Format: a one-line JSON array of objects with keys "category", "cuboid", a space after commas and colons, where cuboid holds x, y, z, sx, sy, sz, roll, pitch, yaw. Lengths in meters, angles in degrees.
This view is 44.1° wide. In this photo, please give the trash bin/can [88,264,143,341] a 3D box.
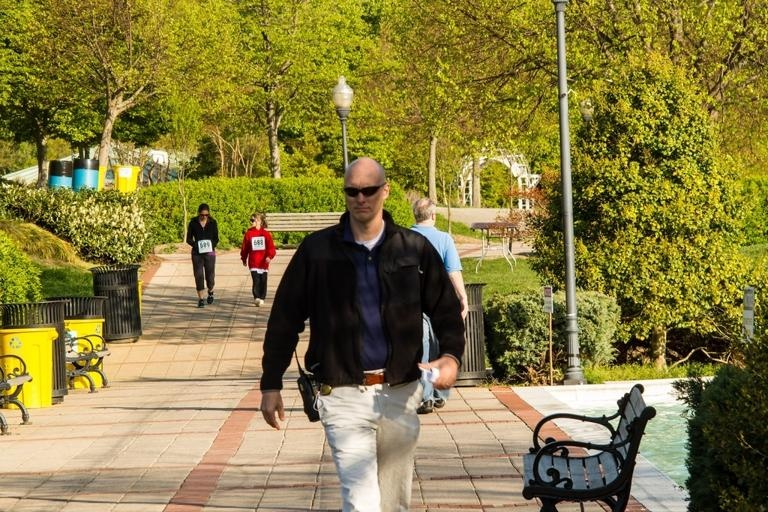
[{"category": "trash bin/can", "cuboid": [-5.635, 0.974, 20.443, 1.242, 1.894, 1.356, 0, 7, 2]}]

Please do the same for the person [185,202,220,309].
[{"category": "person", "cuboid": [-4.266, 0.008, 22.701, 0.572, 2.392, 0.696, 1, 2, 23]}]

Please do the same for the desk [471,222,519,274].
[{"category": "desk", "cuboid": [3.987, -0.362, 33.979, 1.393, 1.386, 1.314, 1, 5, 7]}]

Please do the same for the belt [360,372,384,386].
[{"category": "belt", "cuboid": [-0.095, 1.249, 9.742, 0.230, 0.137, 0.027, 1, 2, -5]}]

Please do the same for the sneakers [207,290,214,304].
[{"category": "sneakers", "cuboid": [-4.203, 0.987, 23.134, 0.108, 0.144, 0.358, 1, 44, -4]}]

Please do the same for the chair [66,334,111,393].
[{"category": "chair", "cuboid": [-5.455, 1.850, 17.092, 1.214, 1.075, 1.282, 2, -1, -20]}]
